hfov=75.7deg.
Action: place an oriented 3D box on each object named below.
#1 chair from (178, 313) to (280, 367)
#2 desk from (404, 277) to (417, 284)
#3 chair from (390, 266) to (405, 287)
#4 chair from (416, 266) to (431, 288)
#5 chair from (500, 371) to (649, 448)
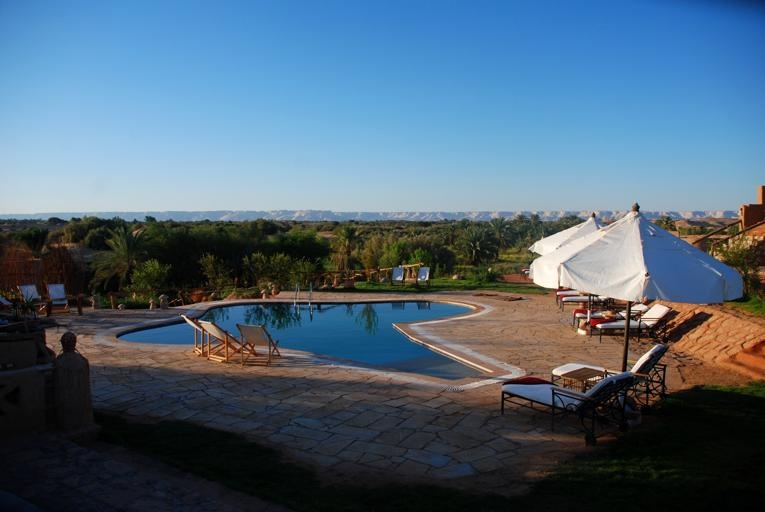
[{"bbox_3d":[-3.537,2.047,12.191,1.308,0.794,2.397,-2,-5,41],"label":"chair"},{"bbox_3d":[1.446,1.330,26.872,0.593,0.180,2.309,0,8,1],"label":"desk"},{"bbox_3d":[0.727,1.022,25.506,0.659,0.903,1.033,0,9,-2],"label":"chair"},{"bbox_3d":[2.083,1.114,25.273,0.680,0.623,1.064,2,22,16],"label":"chair"},{"bbox_3d":[3.234,2.441,8.497,1.310,0.857,1.915,1,0,-39],"label":"chair"}]
